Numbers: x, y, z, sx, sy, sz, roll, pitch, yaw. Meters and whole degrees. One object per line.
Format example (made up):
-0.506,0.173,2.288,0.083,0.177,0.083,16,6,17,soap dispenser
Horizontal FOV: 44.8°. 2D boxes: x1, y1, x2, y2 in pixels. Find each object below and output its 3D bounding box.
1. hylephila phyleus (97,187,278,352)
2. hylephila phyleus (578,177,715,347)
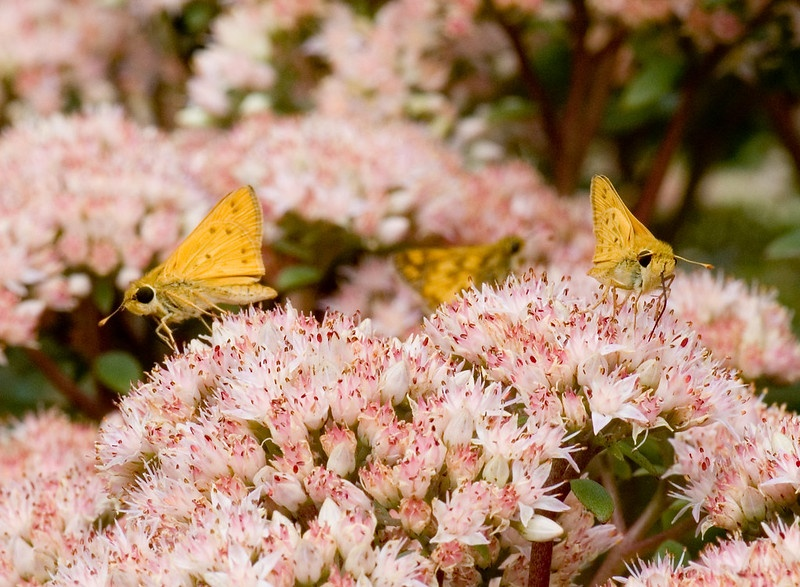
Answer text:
-0.510,-0.044,2.482,0.394,0.299,0.218,-20,58,-8,hylephila phyleus
0.565,-0.110,2.283,0.279,0.273,0.316,9,92,23,hylephila phyleus
